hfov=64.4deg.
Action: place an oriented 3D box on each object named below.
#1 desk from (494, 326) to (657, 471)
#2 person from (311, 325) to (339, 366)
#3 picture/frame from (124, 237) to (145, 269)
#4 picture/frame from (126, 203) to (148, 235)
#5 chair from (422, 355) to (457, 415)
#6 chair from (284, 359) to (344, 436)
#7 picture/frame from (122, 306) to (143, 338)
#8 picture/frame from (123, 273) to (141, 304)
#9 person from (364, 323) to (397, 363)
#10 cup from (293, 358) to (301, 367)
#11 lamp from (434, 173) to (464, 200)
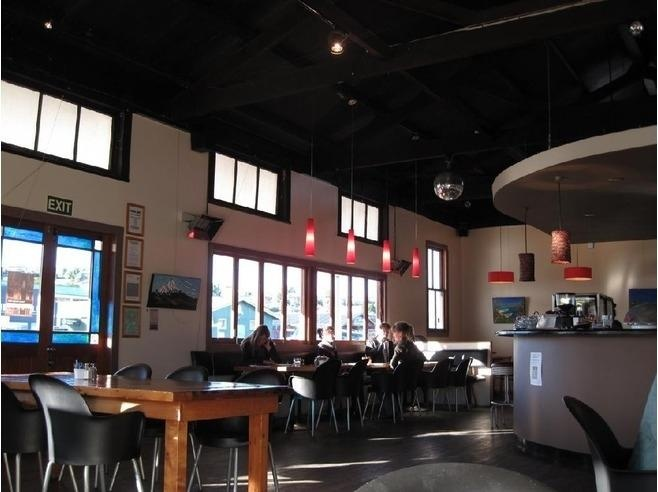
[{"bbox_3d":[3.186,1.563,6.734,1.840,1.351,1.956,-3,-9,19],"label":"desk"},{"bbox_3d":[-0.061,1.782,9.520,0.344,0.753,0.554,2,29,0],"label":"person"},{"bbox_3d":[-2.991,0.119,7.941,0.035,0.589,0.404,-6,-8,31],"label":"picture/frame"},{"bbox_3d":[-2.977,-0.409,8.014,0.055,0.618,0.400,-6,-9,35],"label":"picture/frame"},{"bbox_3d":[2.256,2.832,10.651,0.551,1.060,1.610,-1,-9,14],"label":"chair"},{"bbox_3d":[-0.269,2.444,8.870,0.839,1.105,2.717,1,-9,-1],"label":"chair"},{"bbox_3d":[-2.981,1.149,7.844,0.032,0.533,0.417,-9,-11,32],"label":"picture/frame"},{"bbox_3d":[-2.999,0.648,7.871,0.046,0.508,0.400,-8,-9,34],"label":"picture/frame"},{"bbox_3d":[1.051,2.107,11.032,0.526,0.931,0.433,8,30,12],"label":"person"},{"bbox_3d":[-0.520,1.908,8.476,0.117,0.168,0.118,0,-26,0],"label":"cup"},{"bbox_3d":[1.899,-0.989,8.299,0.396,0.494,0.485,-1,-9,8],"label":"lamp"}]
